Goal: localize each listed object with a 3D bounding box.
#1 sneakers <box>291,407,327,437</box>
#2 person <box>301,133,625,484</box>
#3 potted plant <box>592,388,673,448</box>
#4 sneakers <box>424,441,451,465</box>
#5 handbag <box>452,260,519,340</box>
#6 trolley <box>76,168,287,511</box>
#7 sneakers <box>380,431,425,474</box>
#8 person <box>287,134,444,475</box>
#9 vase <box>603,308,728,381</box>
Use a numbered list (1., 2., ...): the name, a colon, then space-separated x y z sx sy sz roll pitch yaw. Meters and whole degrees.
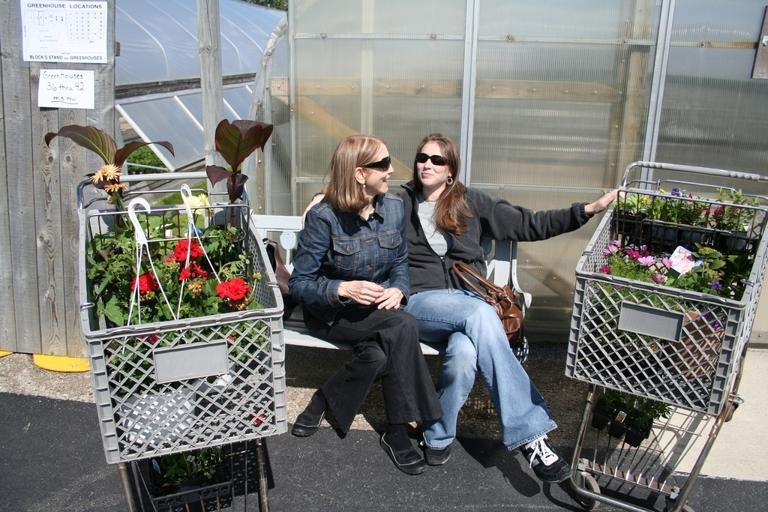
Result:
1. sneakers: -0.514 1.125 4.250 0.124 0.109 0.260 12 16 14
2. person: 0.473 -0.188 4.527 2.064 0.705 1.084 -5 53 -11
3. potted plant: 1.547 0.972 3.950 0.420 0.259 0.399 18 52 12
4. sneakers: 0.364 1.287 4.075 0.205 0.130 0.099 -4 16 -15
5. handbag: 0.709 0.290 4.239 0.499 0.474 0.373 8 17 24
6. trolley: -1.152 0.565 3.590 1.042 1.902 1.008 -5 16 -20
7. sneakers: 0.113 1.287 4.053 0.091 0.168 0.249 -32 45 -28
8. person: -0.137 0.280 4.115 0.990 2.077 0.757 2 15 5
9. vase: 1.591 0.513 3.492 0.448 0.443 0.338 18 2 40
